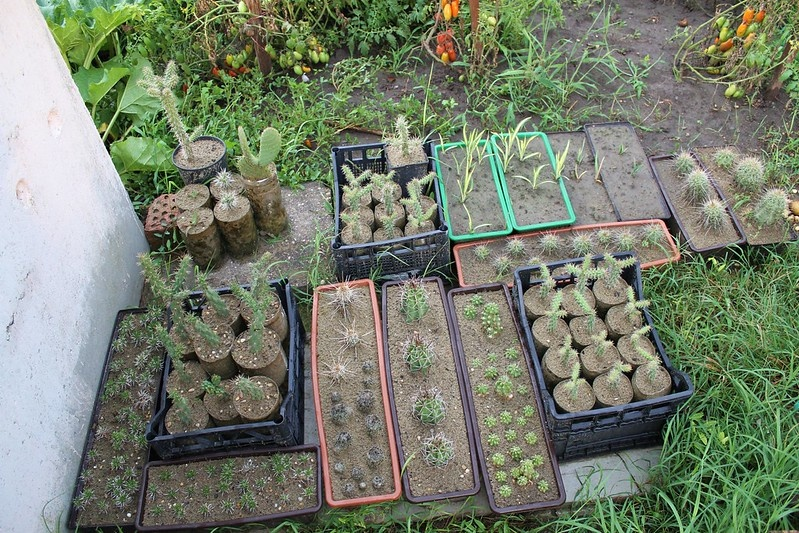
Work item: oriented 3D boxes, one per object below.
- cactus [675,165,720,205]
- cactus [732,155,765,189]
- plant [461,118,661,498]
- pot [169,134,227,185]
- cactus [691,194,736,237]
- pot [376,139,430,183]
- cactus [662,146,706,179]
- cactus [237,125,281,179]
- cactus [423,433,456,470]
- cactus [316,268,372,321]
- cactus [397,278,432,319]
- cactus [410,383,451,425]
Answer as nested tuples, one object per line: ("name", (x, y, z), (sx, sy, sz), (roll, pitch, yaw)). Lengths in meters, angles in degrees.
("cactus", (2.415, -0.639, 5.401), (0.272, 0.279, 0.276), (-32, 44, -4))
("cactus", (2.866, -0.742, 5.463), (0.250, 0.255, 0.259), (-6, 59, 37))
("plant", (1.405, 0.372, 5.558), (1.506, 0.823, 2.678), (-8, 55, -3))
("pot", (-1.597, -0.868, 5.330), (0.388, 0.284, 0.420), (-2, 54, 3))
("cactus", (2.476, -0.381, 5.229), (0.261, 0.277, 0.272), (-18, 35, 26))
("pot", (0.054, -0.901, 5.310), (0.296, 0.282, 0.304), (-1, 41, 1))
("cactus", (2.403, -0.867, 5.607), (0.218, 0.223, 0.224), (-22, 55, 25))
("cactus", (-1.105, -0.850, 5.065), (0.238, 0.450, 0.349), (15, 22, 39))
("cactus", (0.259, 1.217, 4.436), (0.219, 0.137, 0.216), (-13, 53, -9))
("cactus", (-0.436, 0.225, 4.889), (0.280, 0.234, 0.378), (-10, 61, 5))
("cactus", (0.099, 0.244, 4.852), (0.155, 0.211, 0.158), (27, 50, 30))
("cactus", (0.212, 0.951, 4.579), (0.229, 0.237, 0.233), (-10, 30, -3))
